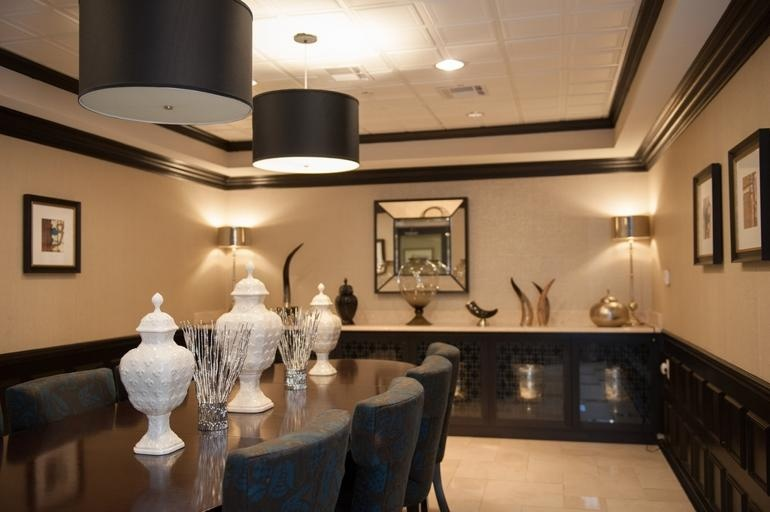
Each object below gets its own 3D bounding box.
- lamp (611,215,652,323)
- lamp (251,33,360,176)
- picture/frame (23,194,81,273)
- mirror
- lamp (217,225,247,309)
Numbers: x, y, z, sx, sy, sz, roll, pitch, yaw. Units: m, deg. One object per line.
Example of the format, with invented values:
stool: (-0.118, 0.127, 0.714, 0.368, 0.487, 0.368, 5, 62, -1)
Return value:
lamp: (2.788, 0.145, 6.175, 0.415, 1.215, 0.396, 0, 2, 23)
lamp: (-0.519, -0.989, 3.845, 0.643, 0.742, 0.660, 0, -8, 1)
picture/frame: (-3.028, -0.200, 4.908, 0.058, 0.803, 0.701, -2, -4, 27)
mirror: (0.491, -0.132, 6.765, 1.159, 1.171, 0.047, -2, -4, 19)
lamp: (-1.985, 0.149, 7.131, 0.354, 1.081, 0.475, -2, 2, -34)
